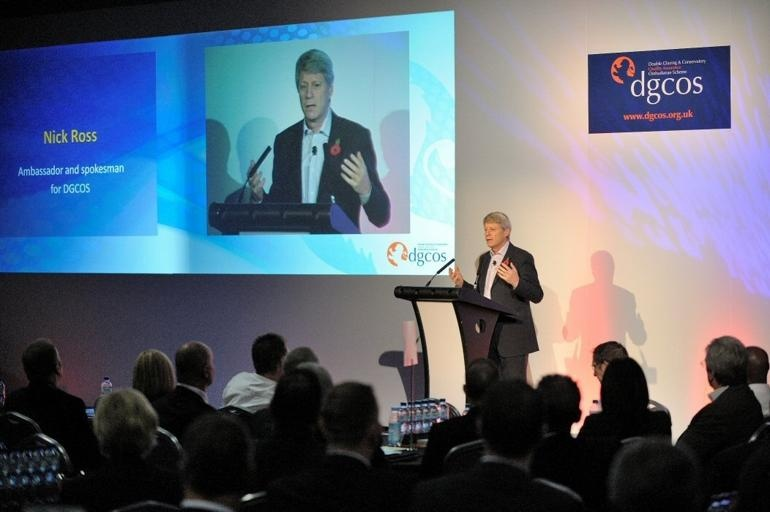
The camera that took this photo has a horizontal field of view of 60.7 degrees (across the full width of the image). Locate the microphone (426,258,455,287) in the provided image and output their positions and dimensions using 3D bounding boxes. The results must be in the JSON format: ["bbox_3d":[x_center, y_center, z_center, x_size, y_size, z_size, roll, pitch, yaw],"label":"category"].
[{"bbox_3d":[0.522,0.160,6.113,0.046,0.304,0.048,44,-2,-35],"label":"microphone"}]

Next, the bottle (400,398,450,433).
[{"bbox_3d":[0.238,1.048,4.285,0.146,0.242,0.504,-10,-14,37],"label":"bottle"}]
